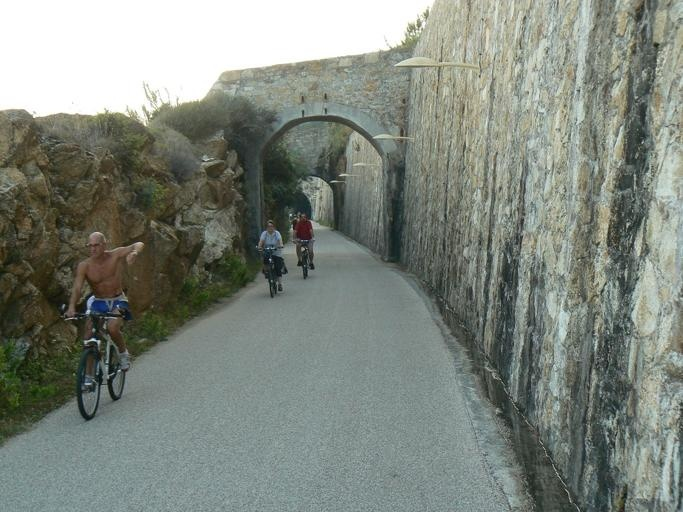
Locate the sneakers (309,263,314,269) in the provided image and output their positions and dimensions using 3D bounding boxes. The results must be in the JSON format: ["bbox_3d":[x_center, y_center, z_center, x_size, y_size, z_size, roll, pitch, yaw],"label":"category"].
[{"bbox_3d":[-0.821,0.256,18.906,0.102,0.180,0.359,-2,-2,-3],"label":"sneakers"}]

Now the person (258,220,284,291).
[{"bbox_3d":[-1.568,0.088,15.436,0.577,1.103,1.603,-2,-10,2],"label":"person"}]

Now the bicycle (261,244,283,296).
[{"bbox_3d":[-1.471,0.307,14.984,0.376,0.599,0.894,-5,16,-1],"label":"bicycle"}]

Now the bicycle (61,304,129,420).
[{"bbox_3d":[-2.641,1.101,7.609,0.407,1.021,1.121,-1,7,-4],"label":"bicycle"}]

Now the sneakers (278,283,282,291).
[{"bbox_3d":[-1.349,0.669,15.341,0.115,0.200,0.402,-1,-2,-4],"label":"sneakers"}]

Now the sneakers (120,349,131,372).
[{"bbox_3d":[-2.474,1.205,8.077,0.075,0.197,0.262,-2,-24,-9],"label":"sneakers"}]
